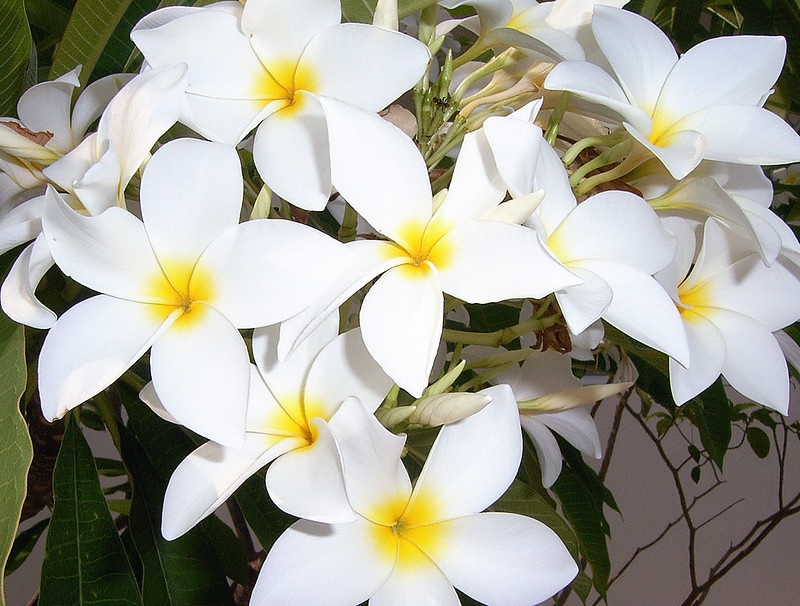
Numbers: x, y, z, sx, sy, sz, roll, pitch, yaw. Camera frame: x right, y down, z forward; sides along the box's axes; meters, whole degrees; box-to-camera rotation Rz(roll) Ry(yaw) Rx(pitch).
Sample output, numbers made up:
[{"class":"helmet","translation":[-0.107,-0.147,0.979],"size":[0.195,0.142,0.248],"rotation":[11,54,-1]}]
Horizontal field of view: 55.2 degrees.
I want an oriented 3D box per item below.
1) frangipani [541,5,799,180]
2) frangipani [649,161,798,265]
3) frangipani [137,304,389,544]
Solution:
[{"class":"frangipani","translation":[0.229,-0.147,0.673],"size":[0.161,0.057,0.182],"rotation":[2,40,-9]},{"class":"frangipani","translation":[0.283,-0.072,0.684],"size":[0.100,0.050,0.104],"rotation":[8,22,-12]},{"class":"frangipani","translation":[-0.089,0.101,0.618],"size":[0.167,0.076,0.210],"rotation":[9,64,6]}]
